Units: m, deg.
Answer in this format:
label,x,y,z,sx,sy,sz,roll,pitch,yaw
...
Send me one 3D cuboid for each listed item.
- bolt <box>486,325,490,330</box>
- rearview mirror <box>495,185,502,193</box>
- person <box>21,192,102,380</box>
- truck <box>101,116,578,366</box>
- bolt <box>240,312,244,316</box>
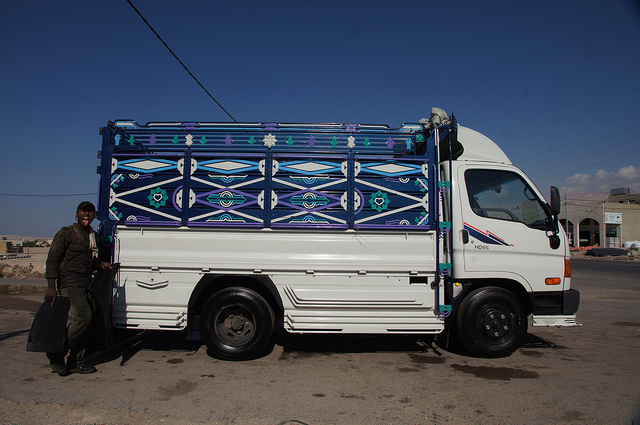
label,x,y,z,sx,sy,sz,roll,pitch,yaw
bolt,3.347,2.275,9.809,0.065,0.048,0.022,-2,13,-13
rearview mirror,3.719,-0.476,10.254,0.148,0.121,0.086,2,13,5
person,-4.656,1.402,9.159,0.896,3.017,1.369,3,13,10
truck,0.390,0.583,11.293,9.896,4.369,3.777,1,-4,-3
bolt,-1.522,1.983,9.727,0.083,0.074,0.021,5,-4,0
